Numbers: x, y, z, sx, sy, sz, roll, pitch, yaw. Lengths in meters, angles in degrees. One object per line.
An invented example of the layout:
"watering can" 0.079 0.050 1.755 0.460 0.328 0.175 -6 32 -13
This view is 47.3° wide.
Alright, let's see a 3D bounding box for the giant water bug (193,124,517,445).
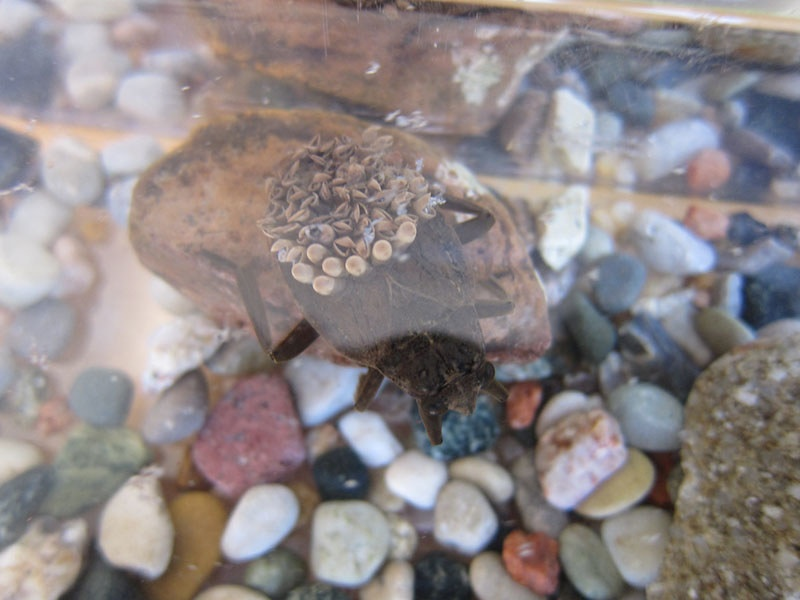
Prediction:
"giant water bug" -0.064 -0.056 1.907 0.489 0.247 0.612 -35 91 -6
